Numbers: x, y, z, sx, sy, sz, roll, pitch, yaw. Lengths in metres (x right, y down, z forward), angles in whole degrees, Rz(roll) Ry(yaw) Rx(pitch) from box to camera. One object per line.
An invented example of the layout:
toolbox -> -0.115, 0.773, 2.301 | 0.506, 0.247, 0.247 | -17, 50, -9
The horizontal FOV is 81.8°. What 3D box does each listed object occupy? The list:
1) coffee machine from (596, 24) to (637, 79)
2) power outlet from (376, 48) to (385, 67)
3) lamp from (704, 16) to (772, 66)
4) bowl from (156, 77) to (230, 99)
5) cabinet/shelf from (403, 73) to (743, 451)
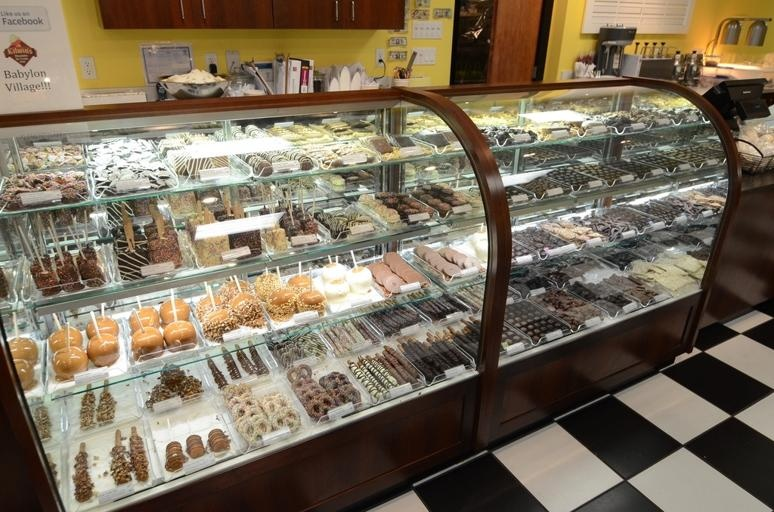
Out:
coffee machine -> 3.017, -2.713, 5.931 | 0.431, 0.595, 0.327 | 7, 33, 19
power outlet -> -0.074, -2.298, 5.171 | 0.136, 0.182, 0.033 | -27, 38, -32
lamp -> 4.907, -2.996, 6.216 | 0.676, 0.567, 1.722 | 14, 32, 29
bowl -> -1.050, -0.892, 2.418 | 0.257, 0.059, 0.221 | -6, 18, -20
cabinet/shelf -> 1.132, 0.059, 2.758 | 2.356, 1.797, 1.238 | -13, 29, -26
